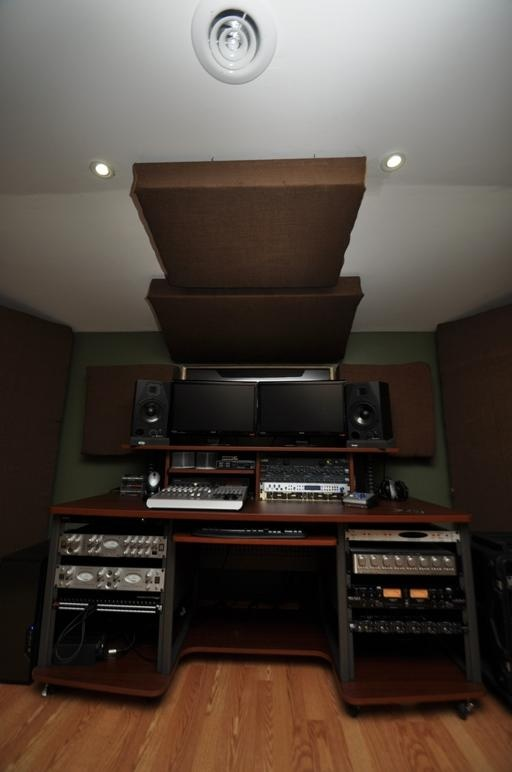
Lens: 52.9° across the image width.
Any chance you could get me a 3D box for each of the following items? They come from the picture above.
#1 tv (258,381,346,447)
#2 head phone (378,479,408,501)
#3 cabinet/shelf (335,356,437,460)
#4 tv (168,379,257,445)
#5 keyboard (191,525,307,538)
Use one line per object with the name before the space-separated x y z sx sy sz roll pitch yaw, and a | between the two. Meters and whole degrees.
tv | 0.247 0.112 2.726 0.452 0.285 0.079 0 0 4
head phone | 0.699 0.522 2.602 0.092 0.064 0.131 2 4 8
cabinet/shelf | 0.854 0.173 3.582 0.562 0.864 0.595 -2 -7 5
tv | -0.236 0.125 2.755 0.318 0.240 0.087 0 -17 1
keyboard | -0.025 0.585 2.094 0.452 0.017 0.143 0 1 2
